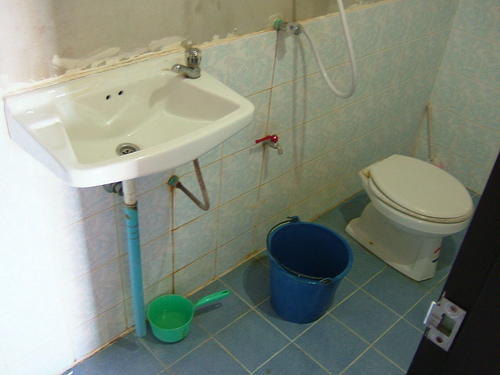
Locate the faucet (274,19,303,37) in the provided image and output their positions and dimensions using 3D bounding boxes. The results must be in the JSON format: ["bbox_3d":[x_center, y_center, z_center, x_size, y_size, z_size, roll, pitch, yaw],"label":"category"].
[{"bbox_3d":[0.155,-0.634,1.695,0.100,0.056,0.046,20,68,22],"label":"faucet"}]

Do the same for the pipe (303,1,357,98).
[{"bbox_3d":[0.358,-0.540,1.768,0.198,0.395,0.176,33,38,27],"label":"pipe"}]

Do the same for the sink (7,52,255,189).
[{"bbox_3d":[-0.360,-0.183,1.284,0.661,0.234,0.440,-30,60,-32],"label":"sink"}]

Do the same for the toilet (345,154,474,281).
[{"bbox_3d":[0.859,0.152,2.290,0.431,0.501,0.548,-27,46,-24],"label":"toilet"}]

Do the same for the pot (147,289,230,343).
[{"bbox_3d":[-0.282,0.551,1.936,0.363,0.171,0.178,-28,46,-25],"label":"pot"}]

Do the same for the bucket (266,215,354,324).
[{"bbox_3d":[0.281,0.386,2.043,0.386,0.386,0.387,-2,41,2],"label":"bucket"}]

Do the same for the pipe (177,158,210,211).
[{"bbox_3d":[-0.201,-0.025,1.622,0.101,0.201,0.108,24,40,18],"label":"pipe"}]

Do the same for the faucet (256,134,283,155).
[{"bbox_3d":[0.084,-0.200,1.927,0.123,0.063,0.034,29,45,31],"label":"faucet"}]

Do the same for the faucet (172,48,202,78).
[{"bbox_3d":[-0.196,-0.412,1.413,0.112,0.108,0.067,-20,51,-23],"label":"faucet"}]
